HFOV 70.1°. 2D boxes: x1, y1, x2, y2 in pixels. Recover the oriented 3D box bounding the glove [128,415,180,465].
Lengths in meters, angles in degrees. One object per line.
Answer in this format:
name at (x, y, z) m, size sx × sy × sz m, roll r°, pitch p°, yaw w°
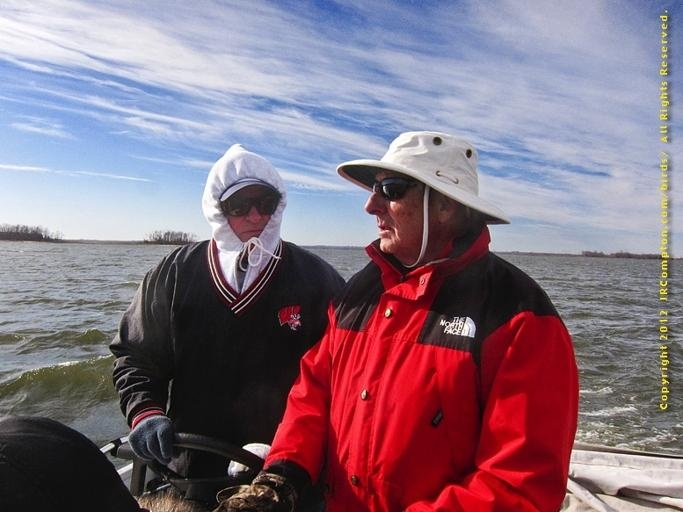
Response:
glove at (-1.336, 1.323, 3.508) m, size 0.388 × 0.267 × 0.175 m, roll 2°, pitch -3°, yaw 24°
